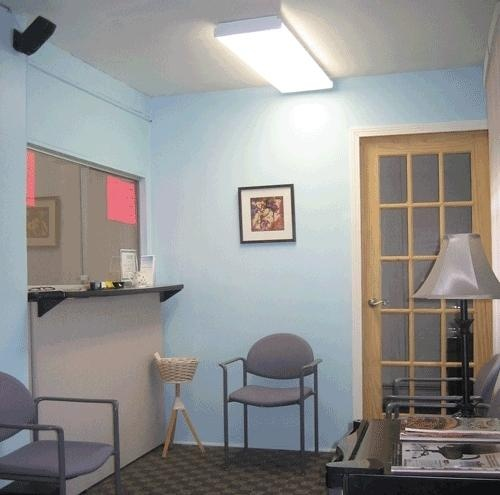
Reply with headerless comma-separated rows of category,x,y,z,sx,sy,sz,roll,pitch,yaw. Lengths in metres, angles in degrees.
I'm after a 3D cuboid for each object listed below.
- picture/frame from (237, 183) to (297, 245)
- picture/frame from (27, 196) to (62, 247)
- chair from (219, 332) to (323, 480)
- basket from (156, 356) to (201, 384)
picture/frame,0.151,-0.257,3.584,0.425,0.478,0.021,-1,-5,13
picture/frame,-1.266,-0.148,2.775,0.309,0.331,0.022,0,2,15
chair,0.155,1.072,3.280,0.687,0.878,0.637,-1,-4,4
basket,-0.547,0.898,3.495,0.339,0.241,0.305,4,-10,-25
